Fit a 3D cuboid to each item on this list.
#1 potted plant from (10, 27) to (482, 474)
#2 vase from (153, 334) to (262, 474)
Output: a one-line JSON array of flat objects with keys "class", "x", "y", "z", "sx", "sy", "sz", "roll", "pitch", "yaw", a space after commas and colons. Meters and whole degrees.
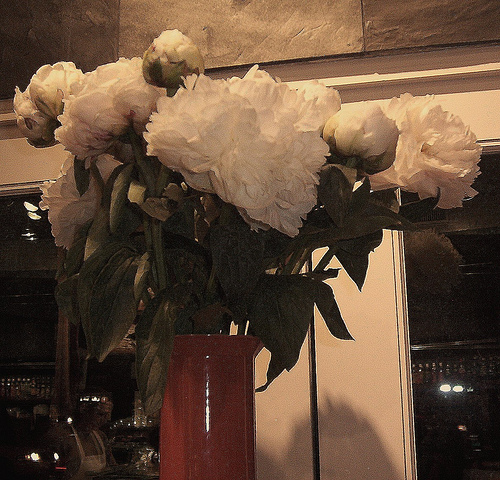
[{"class": "potted plant", "x": 0.050, "y": -0.044, "z": 1.361, "sx": 0.583, "sy": 0.761, "sz": 0.689, "roll": -1, "pitch": -5, "yaw": 25}, {"class": "vase", "x": -0.055, "y": 0.259, "z": 1.213, "sx": 0.175, "sy": 0.231, "sz": 0.179, "roll": 2, "pitch": -25, "yaw": -3}]
